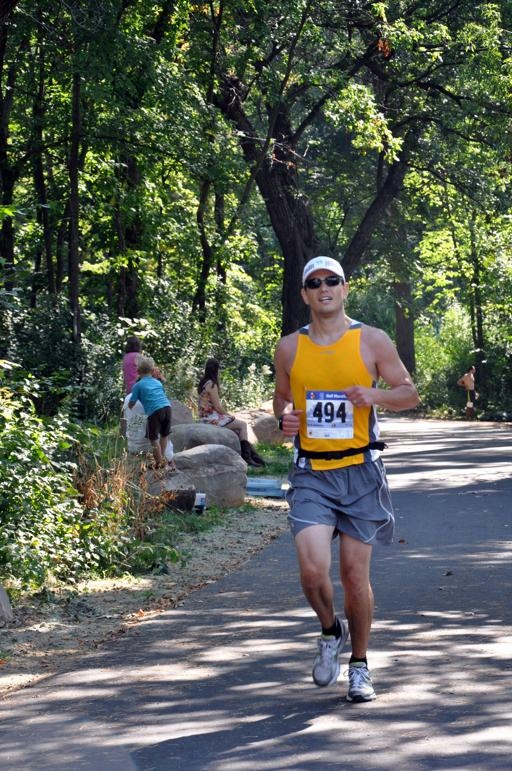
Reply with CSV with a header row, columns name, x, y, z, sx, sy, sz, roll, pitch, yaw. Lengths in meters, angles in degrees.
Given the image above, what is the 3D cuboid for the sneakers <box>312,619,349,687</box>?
name,x,y,z,sx,sy,sz,roll,pitch,yaw
sneakers,0.328,1.239,4.241,0.128,0.345,0.159,2,-28,24

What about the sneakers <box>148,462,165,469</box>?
name,x,y,z,sx,sy,sz,roll,pitch,yaw
sneakers,-1.057,0.864,9.909,0.141,0.090,0.131,1,-9,-6

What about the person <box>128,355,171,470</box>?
name,x,y,z,sx,sy,sz,roll,pitch,yaw
person,-1.172,0.293,10.499,0.407,1.242,1.060,-1,-4,-8

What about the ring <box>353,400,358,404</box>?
name,x,y,z,sx,sy,sz,roll,pitch,yaw
ring,0.429,0.077,4.054,0.015,0.014,0.022,-5,-31,17

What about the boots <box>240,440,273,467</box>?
name,x,y,z,sx,sy,sz,roll,pitch,yaw
boots,-0.115,1.070,15.050,0.237,0.397,0.599,-25,25,-30

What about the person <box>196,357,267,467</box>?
name,x,y,z,sx,sy,sz,roll,pitch,yaw
person,-0.414,0.473,14.868,0.973,1.687,1.085,-1,-3,-4

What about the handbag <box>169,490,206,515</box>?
name,x,y,z,sx,sy,sz,roll,pitch,yaw
handbag,-0.714,1.245,10.058,0.337,0.239,0.333,1,2,-42

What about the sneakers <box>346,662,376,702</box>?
name,x,y,z,sx,sy,sz,roll,pitch,yaw
sneakers,0.456,1.290,4.099,0.121,0.161,0.184,-2,-4,5

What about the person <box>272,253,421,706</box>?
name,x,y,z,sx,sy,sz,roll,pitch,yaw
person,0.391,0.389,4.214,0.668,1.993,0.601,-2,-3,11
